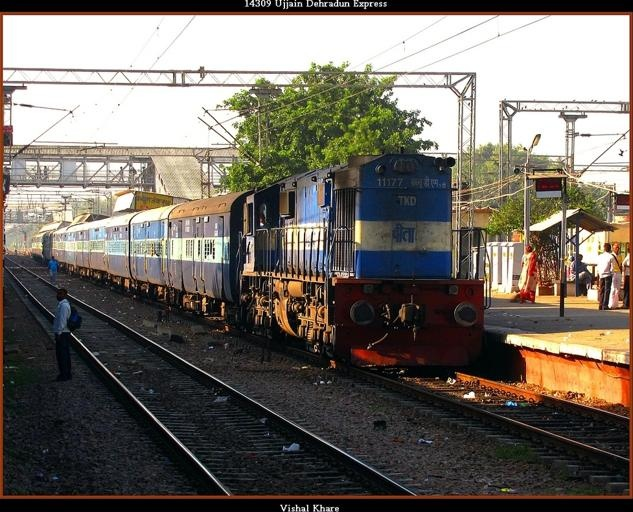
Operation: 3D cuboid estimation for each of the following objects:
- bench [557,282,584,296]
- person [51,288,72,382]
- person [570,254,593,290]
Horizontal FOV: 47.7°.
[{"bbox_3d":[10.021,1.341,28.032,0.928,0.617,0.488,1,-3,-12],"label":"bench"},{"bbox_3d":[-4.876,1.603,13.784,0.290,1.654,0.477,-1,3,-20],"label":"person"},{"bbox_3d":[10.484,0.722,28.207,0.768,1.621,2.859,1,3,23],"label":"person"}]
